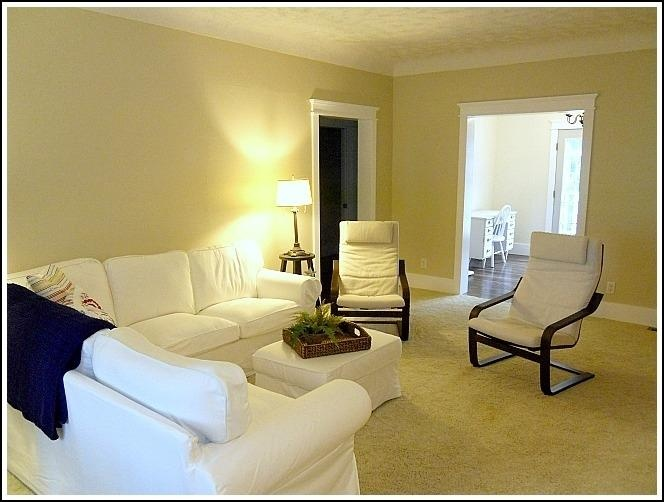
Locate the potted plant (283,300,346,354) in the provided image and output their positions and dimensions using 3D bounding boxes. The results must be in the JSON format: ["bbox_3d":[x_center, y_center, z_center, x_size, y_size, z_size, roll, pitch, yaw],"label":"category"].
[{"bbox_3d":[-0.125,0.565,3.467,0.335,0.174,0.342,-5,8,-15],"label":"potted plant"}]

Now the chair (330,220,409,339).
[{"bbox_3d":[0.428,0.231,5.167,0.963,1.451,1.123,0,4,5],"label":"chair"}]

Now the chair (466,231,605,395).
[{"bbox_3d":[1.784,0.469,4.108,1.023,1.130,0.878,-13,18,-43],"label":"chair"}]

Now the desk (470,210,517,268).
[{"bbox_3d":[2.604,-0.186,7.890,0.311,0.604,0.907,4,10,32],"label":"desk"}]
